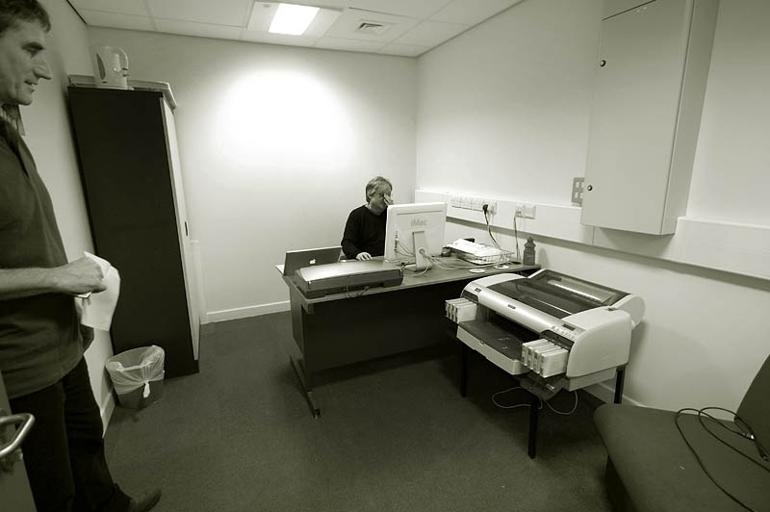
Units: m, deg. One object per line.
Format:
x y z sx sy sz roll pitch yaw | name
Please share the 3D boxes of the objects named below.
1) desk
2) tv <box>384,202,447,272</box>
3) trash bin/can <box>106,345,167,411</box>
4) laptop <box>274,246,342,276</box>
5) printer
-0.229 0.446 4.528 2.227 1.100 1.145 -7 19 -25 | desk
0.228 -0.135 4.174 0.457 0.428 0.249 -6 23 -21 | tv
-1.875 0.931 4.191 0.409 0.448 0.403 2 3 5 | trash bin/can
-0.578 0.048 4.111 0.489 0.199 0.260 -5 16 -10 | laptop
1.169 0.290 3.609 0.954 0.418 1.032 -8 16 -26 | printer
